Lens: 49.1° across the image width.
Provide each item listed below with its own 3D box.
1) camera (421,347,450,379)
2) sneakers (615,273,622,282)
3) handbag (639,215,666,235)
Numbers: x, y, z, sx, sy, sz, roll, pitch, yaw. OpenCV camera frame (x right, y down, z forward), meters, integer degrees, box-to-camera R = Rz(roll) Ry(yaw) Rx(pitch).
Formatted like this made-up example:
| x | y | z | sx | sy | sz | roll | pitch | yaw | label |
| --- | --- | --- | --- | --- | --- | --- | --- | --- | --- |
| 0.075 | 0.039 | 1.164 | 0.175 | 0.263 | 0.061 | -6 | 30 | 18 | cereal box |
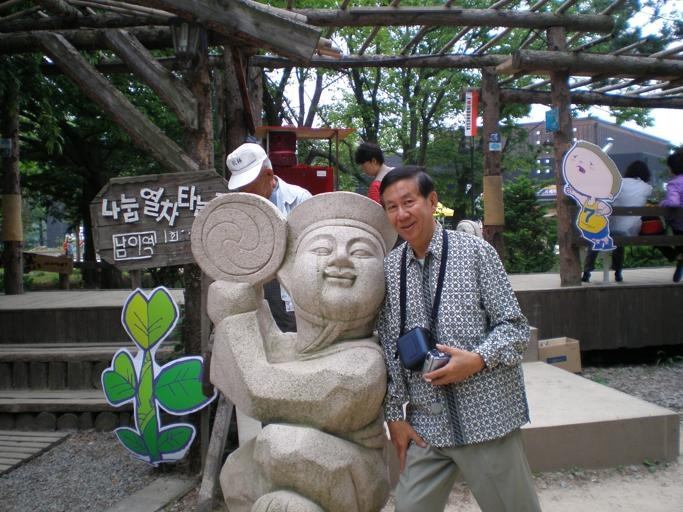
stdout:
| x | y | z | sx | sy | sz | roll | pitch | yaw | label |
| --- | --- | --- | --- | --- | --- | --- | --- | --- | --- |
| 0.678 | 0.756 | 5.275 | 0.142 | 0.213 | 0.075 | 16 | 20 | -31 | camera |
| 4.137 | 0.307 | 11.091 | 0.100 | 0.139 | 0.094 | -1 | -11 | 4 | sneakers |
| 4.508 | -0.436 | 10.835 | 0.269 | 0.195 | 0.283 | 1 | -1 | 1 | handbag |
